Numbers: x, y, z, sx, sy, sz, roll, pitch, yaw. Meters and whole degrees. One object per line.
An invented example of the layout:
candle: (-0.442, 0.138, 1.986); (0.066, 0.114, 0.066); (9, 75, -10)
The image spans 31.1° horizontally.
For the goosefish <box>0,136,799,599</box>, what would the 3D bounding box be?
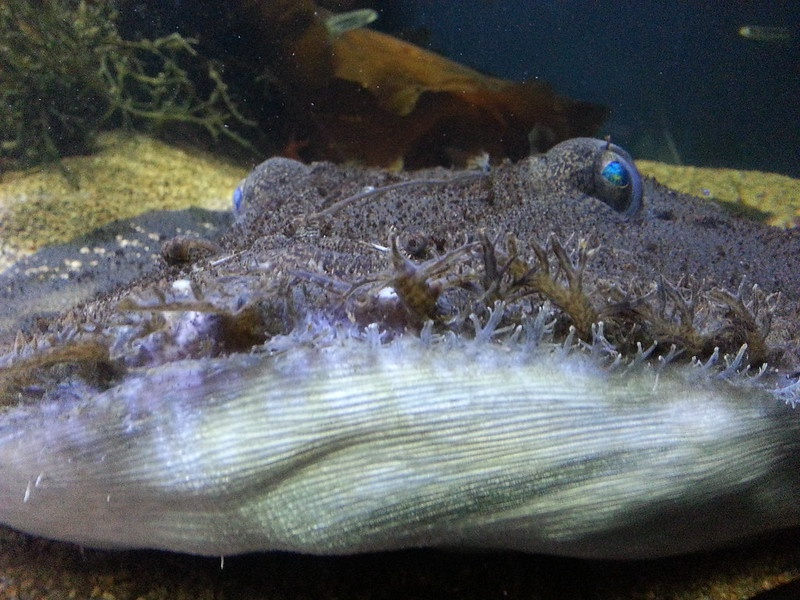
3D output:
goosefish: (-0.030, 0.160, 2.598); (1.537, 0.554, 0.884); (10, 50, -1)

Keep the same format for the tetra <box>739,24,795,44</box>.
tetra: (0.721, -0.520, 2.789); (0.089, 0.032, 0.018); (-4, 13, -18)
